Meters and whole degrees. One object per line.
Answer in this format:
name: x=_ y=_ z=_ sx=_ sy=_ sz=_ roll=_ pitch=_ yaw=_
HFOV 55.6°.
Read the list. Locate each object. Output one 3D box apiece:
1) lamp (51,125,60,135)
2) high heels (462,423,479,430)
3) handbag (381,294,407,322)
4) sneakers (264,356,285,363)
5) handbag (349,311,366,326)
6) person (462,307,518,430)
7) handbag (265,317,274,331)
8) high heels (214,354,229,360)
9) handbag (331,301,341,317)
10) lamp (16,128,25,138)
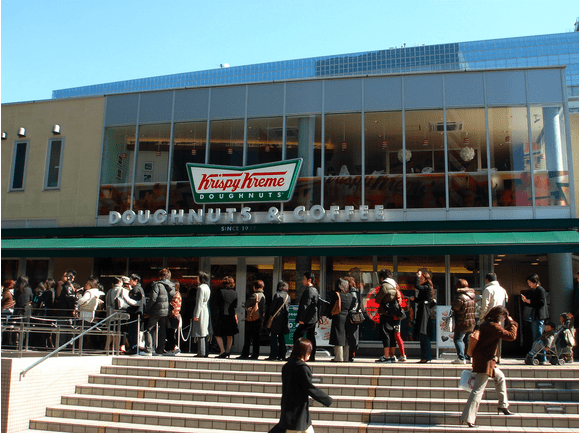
lamp: x=-8.809 y=-3.316 z=20.809 sx=0.330 sy=0.320 sz=0.331 roll=-4 pitch=-9 yaw=0
high heels: x=3.379 y=3.941 z=10.384 sx=0.357 sy=0.155 sz=0.121 roll=-3 pitch=-11 yaw=16
handbag: x=2.551 y=2.236 z=13.466 sx=0.677 sy=0.636 sz=0.488 roll=22 pitch=-11 yaw=-16
sneakers: x=-0.364 y=3.538 z=13.789 sx=0.550 sy=0.230 sz=0.182 roll=9 pitch=-15 yaw=-8
handbag: x=1.710 y=2.522 z=13.679 sx=0.279 sy=0.361 sz=0.602 roll=-7 pitch=-9 yaw=30
person: x=3.901 y=2.883 z=10.733 sx=1.108 sy=2.249 sz=1.213 roll=-6 pitch=-9 yaw=23
handbag: x=-0.521 y=2.670 z=13.819 sx=0.085 sy=0.332 sz=0.178 roll=15 pitch=-4 yaw=-32
high heels: x=-1.736 y=3.621 z=14.257 sx=0.398 sy=0.166 sz=0.142 roll=6 pitch=-15 yaw=-17
handbag: x=1.132 y=2.210 z=13.518 sx=0.265 sy=0.369 sz=0.248 roll=8 pitch=13 yaw=22
lamp: x=-10.423 y=-3.295 z=21.213 sx=0.350 sy=0.375 sz=0.209 roll=-5 pitch=-9 yaw=19
